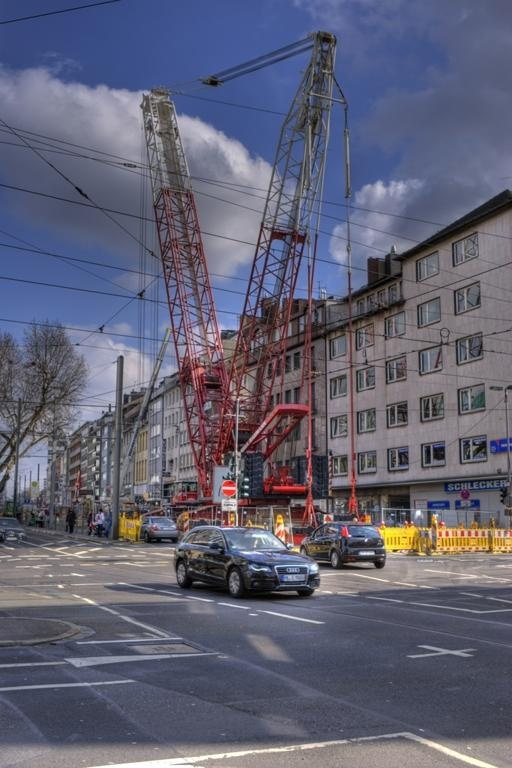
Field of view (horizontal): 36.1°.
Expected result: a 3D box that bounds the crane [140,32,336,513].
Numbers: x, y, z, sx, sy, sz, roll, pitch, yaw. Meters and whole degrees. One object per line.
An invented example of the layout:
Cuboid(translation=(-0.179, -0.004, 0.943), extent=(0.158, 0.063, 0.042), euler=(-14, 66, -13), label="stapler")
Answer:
Cuboid(translation=(-1.640, -4.438, 48.270), extent=(4.899, 28.843, 24.566), euler=(-7, 15, -27), label="crane")

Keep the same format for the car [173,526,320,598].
Cuboid(translation=(-0.255, 3.568, 15.952), extent=(1.591, 1.328, 3.879), euler=(8, -13, -29), label="car")

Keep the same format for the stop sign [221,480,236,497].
Cuboid(translation=(-0.927, 3.485, 26.239), extent=(0.090, 0.530, 0.531), euler=(-7, 7, 35), label="stop sign")
